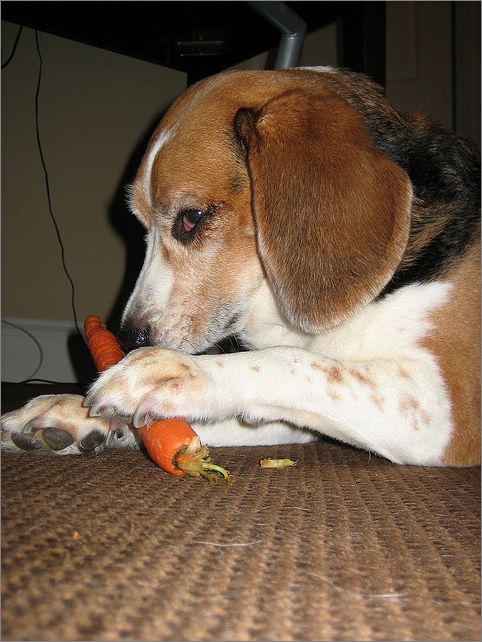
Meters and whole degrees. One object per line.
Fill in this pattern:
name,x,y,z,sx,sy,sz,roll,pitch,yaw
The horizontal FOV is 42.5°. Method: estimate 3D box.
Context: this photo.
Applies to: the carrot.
carrot,-0.239,0.108,1.333,0.143,0.121,0.733,17,18,-39
